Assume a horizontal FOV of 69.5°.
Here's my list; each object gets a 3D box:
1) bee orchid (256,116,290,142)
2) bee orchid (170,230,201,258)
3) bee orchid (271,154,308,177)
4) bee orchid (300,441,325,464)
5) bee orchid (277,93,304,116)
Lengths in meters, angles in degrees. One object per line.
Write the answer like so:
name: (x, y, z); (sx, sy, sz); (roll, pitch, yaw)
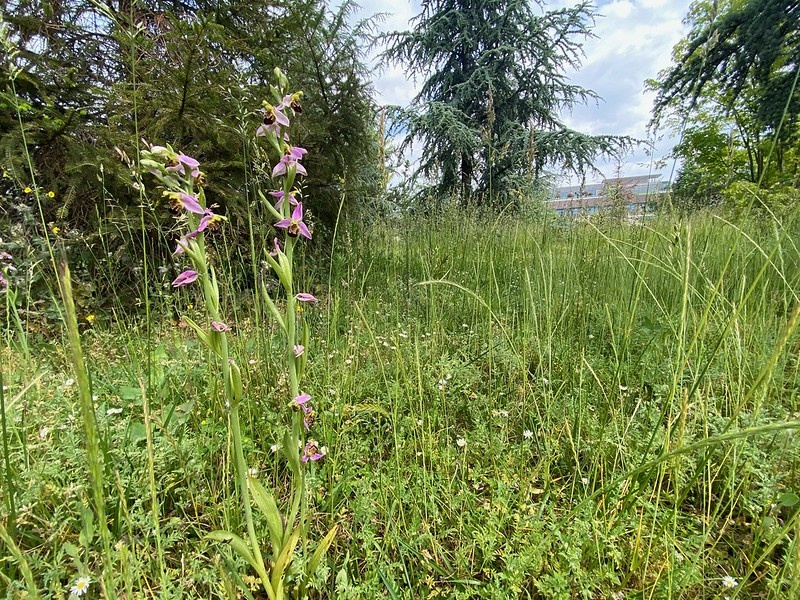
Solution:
bee orchid: (-0.833, -1.077, 3.651); (0.141, 0.097, 0.227); (-1, 10, -16)
bee orchid: (-1.335, -0.345, 3.512); (0.185, 0.154, 0.180); (7, 11, 27)
bee orchid: (-0.713, -0.847, 3.659); (0.196, 0.123, 0.219); (-2, 11, -18)
bee orchid: (-0.575, 0.989, 3.794); (0.170, 0.124, 0.185); (14, -4, -16)
bee orchid: (-0.691, -1.237, 3.636); (0.149, 0.092, 0.147); (14, 22, 30)
